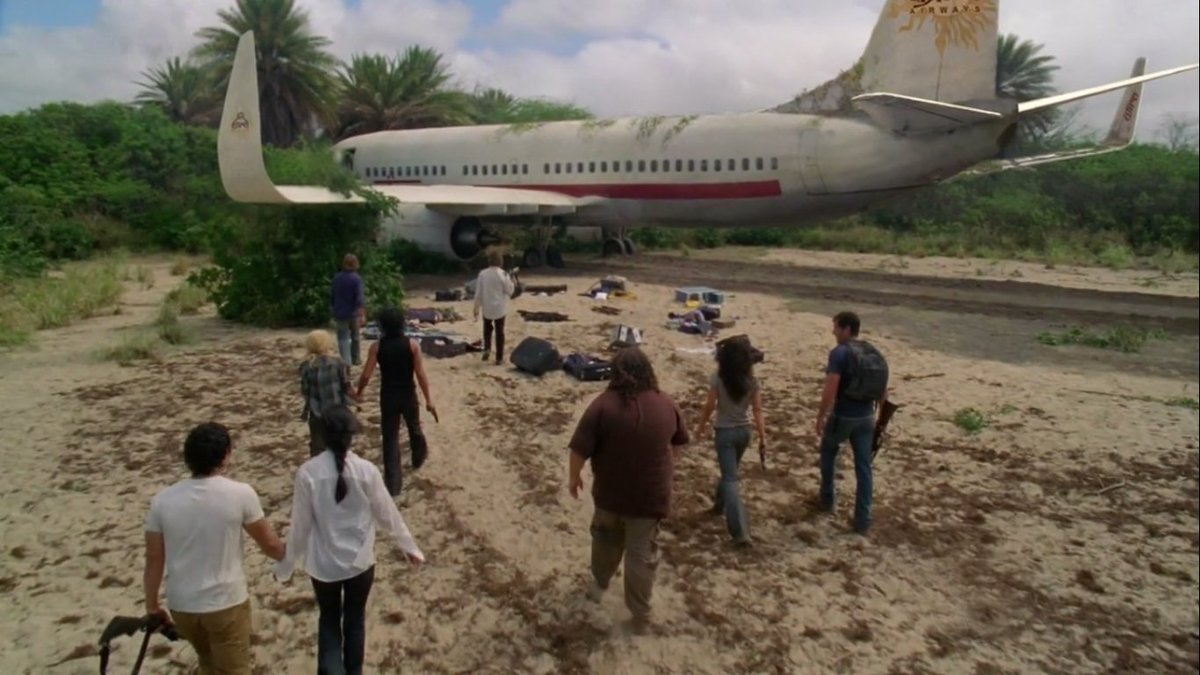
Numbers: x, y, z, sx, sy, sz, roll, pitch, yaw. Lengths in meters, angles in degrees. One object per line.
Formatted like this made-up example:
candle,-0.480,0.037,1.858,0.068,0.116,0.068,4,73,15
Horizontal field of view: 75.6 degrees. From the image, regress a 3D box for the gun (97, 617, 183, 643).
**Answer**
gun,-7.709,4.823,12.838,1.158,0.552,0.366,0,14,0
